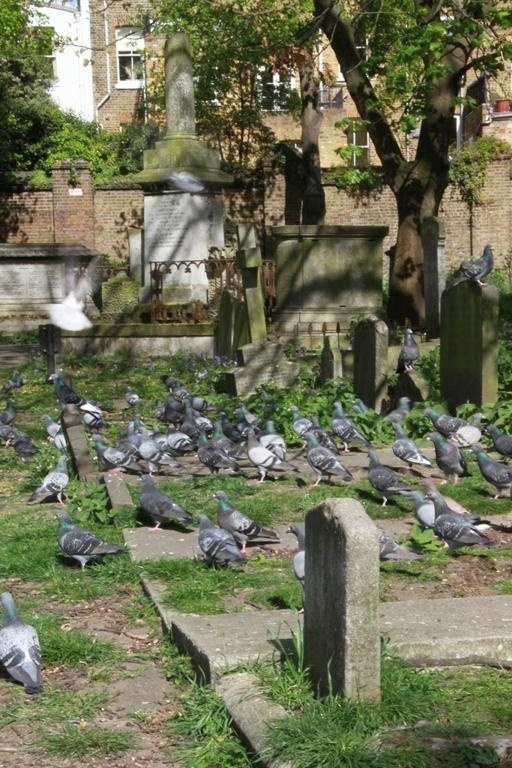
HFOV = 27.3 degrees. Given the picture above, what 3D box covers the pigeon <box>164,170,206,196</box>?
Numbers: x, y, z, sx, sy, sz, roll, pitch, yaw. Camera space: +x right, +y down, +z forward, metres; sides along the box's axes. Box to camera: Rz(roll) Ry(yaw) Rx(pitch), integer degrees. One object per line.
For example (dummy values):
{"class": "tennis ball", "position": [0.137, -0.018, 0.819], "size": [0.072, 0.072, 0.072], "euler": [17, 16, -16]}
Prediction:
{"class": "pigeon", "position": [-1.232, -3.676, 18.986], "size": [0.670, 0.405, 0.394], "euler": [0, 3, 5]}
